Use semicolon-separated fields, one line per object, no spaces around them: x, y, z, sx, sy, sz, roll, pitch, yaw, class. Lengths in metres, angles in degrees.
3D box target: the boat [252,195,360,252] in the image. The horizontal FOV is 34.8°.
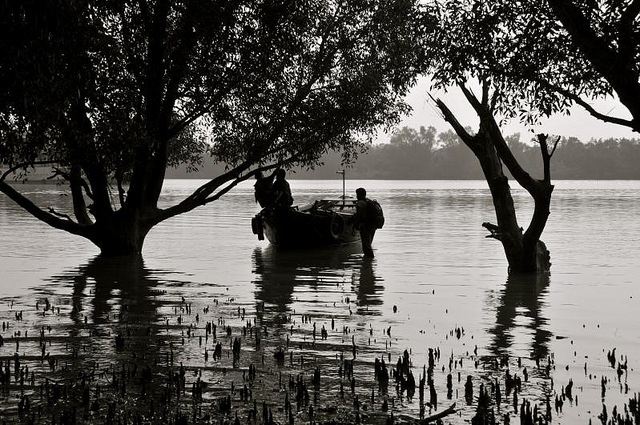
-0.205;0.414;38.526;1.982;1.224;3.504;4;7;34;boat
